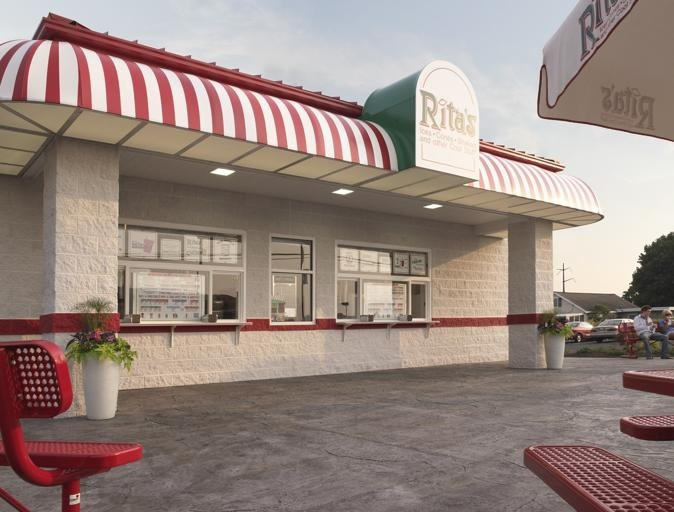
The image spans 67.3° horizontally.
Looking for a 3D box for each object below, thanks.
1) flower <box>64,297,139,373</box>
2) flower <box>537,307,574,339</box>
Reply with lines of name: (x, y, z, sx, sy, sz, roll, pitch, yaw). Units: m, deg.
flower: (-3.787, 1.237, 8.105, 1.276, 0.978, 1.143, 1, -8, -23)
flower: (6.015, 1.922, 14.037, 0.912, 0.584, 0.764, 2, -5, 5)
